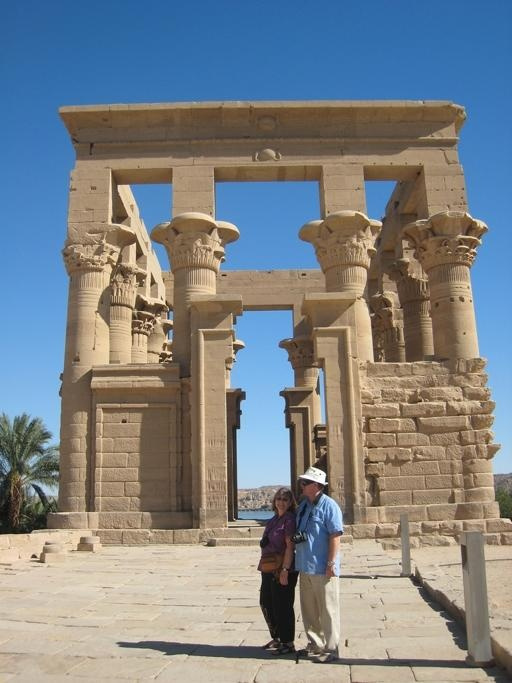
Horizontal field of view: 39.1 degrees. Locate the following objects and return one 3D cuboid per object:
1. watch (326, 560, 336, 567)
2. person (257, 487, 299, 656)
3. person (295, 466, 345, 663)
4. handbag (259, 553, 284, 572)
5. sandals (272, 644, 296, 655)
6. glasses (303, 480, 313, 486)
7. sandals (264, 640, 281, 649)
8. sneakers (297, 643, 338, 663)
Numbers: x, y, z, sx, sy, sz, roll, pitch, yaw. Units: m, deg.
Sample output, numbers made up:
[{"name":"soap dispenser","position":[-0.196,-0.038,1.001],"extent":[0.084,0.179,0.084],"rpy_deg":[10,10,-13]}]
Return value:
[{"name":"watch","position":[0.567,1.663,5.393],"extent":[0.050,0.062,0.062],"rpy_deg":[3,-20,9]},{"name":"person","position":[0.187,1.806,5.769],"extent":[0.311,1.240,0.448],"rpy_deg":[-2,-13,2]},{"name":"person","position":[0.494,1.687,5.586],"extent":[0.373,1.401,0.409],"rpy_deg":[-2,-13,3]},{"name":"handbag","position":[0.140,1.753,5.734],"extent":[0.154,0.123,0.082],"rpy_deg":[-2,-28,20]},{"name":"sandals","position":[0.227,2.360,5.520],"extent":[0.194,0.065,0.065],"rpy_deg":[7,-23,-7]},{"name":"glasses","position":[0.413,1.102,5.636],"extent":[0.058,0.022,0.053],"rpy_deg":[0,-5,-14]},{"name":"sandals","position":[0.136,2.331,5.555],"extent":[0.119,0.042,0.057],"rpy_deg":[4,-13,-3]},{"name":"sneakers","position":[0.461,2.319,5.380],"extent":[0.333,0.121,0.112],"rpy_deg":[4,-24,6]}]
